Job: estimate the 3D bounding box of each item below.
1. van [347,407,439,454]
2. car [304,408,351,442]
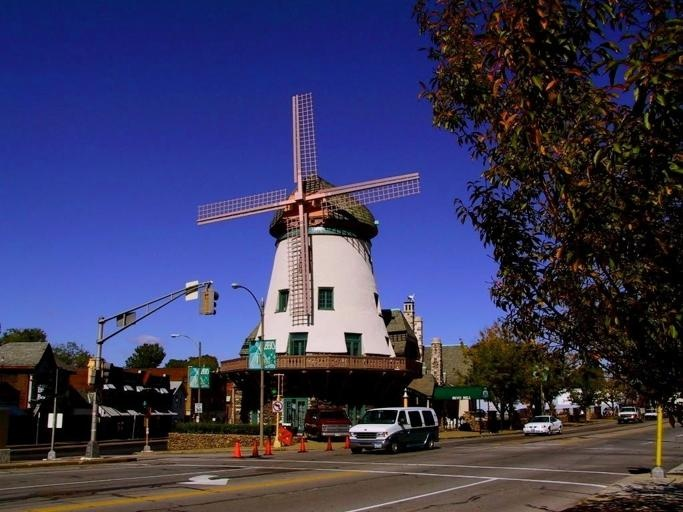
[{"bbox_3d":[2.396,8.079,29.822,2.050,1.608,4.041,-13,-21,35],"label":"van"},{"bbox_3d":[-0.774,10.359,39.908,1.939,2.152,3.023,6,-21,-25],"label":"car"}]
